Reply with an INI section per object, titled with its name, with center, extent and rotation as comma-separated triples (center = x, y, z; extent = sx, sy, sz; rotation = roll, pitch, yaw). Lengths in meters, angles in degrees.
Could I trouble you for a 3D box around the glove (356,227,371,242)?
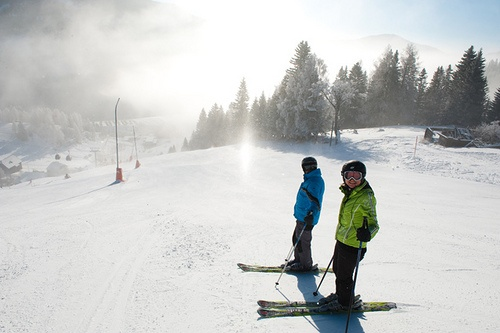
[glove]
center = 4.969, 3.021, 15.560
extent = 0.416, 0.652, 0.647
rotation = 2, -24, 7
